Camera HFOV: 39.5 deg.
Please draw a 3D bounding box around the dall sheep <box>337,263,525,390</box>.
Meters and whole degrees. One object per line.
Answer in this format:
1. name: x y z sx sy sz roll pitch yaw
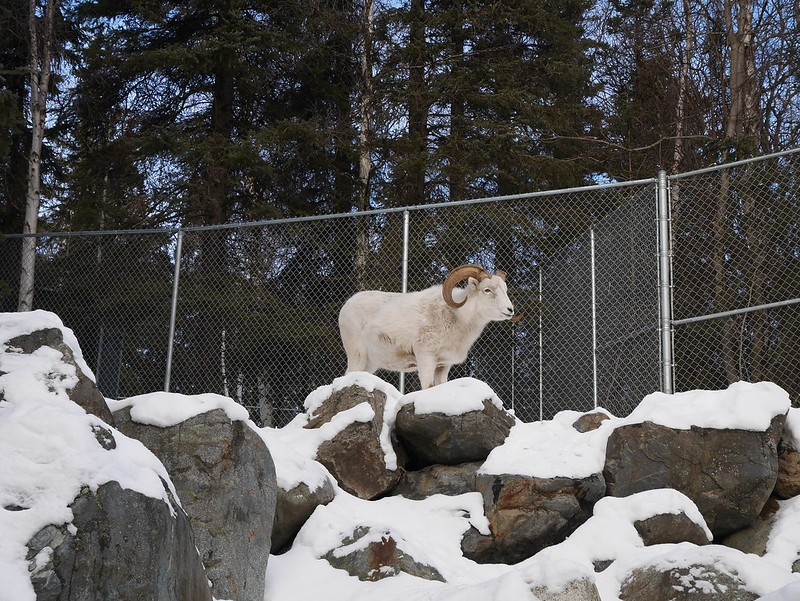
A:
1. dall sheep: 0.317 0.597 16.056 2.503 2.120 1.215 1 -7 16
